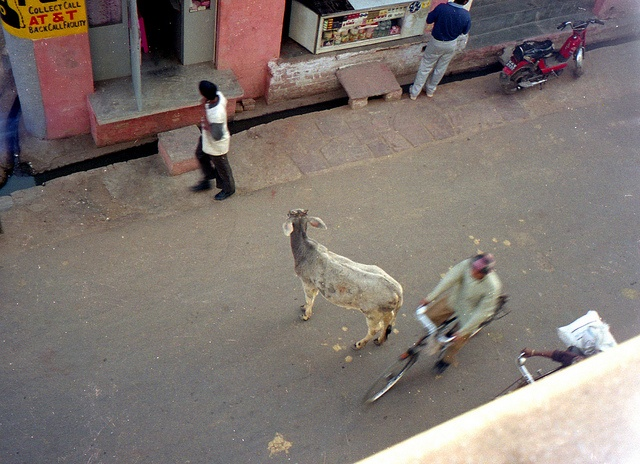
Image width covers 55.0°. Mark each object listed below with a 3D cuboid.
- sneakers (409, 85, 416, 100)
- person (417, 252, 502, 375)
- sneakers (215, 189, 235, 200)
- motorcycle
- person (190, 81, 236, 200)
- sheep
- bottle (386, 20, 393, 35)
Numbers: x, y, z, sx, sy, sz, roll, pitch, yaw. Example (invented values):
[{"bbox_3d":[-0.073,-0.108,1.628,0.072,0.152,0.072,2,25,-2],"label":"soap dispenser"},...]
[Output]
[{"bbox_3d":[1.908,-2.846,12.587,0.111,0.127,0.297,-10,53,-5],"label":"sneakers"},{"bbox_3d":[1.997,1.256,8.805,0.843,1.519,0.637,-26,72,-28],"label":"person"},{"bbox_3d":[-1.655,-0.608,10.503,0.364,0.144,0.131,-19,80,6],"label":"sneakers"},{"bbox_3d":[5.034,-3.778,13.452,2.064,1.257,0.840,-24,54,-13],"label":"motorcycle"},{"bbox_3d":[-1.819,-1.487,10.279,0.756,2.047,0.800,-6,68,-16],"label":"person"},{"bbox_3d":[0.167,0.761,9.077,2.341,1.505,0.741,27,39,30],"label":"sheep"},{"bbox_3d":[1.431,-4.133,12.417,0.076,0.243,0.126,-21,60,-25],"label":"bottle"}]
